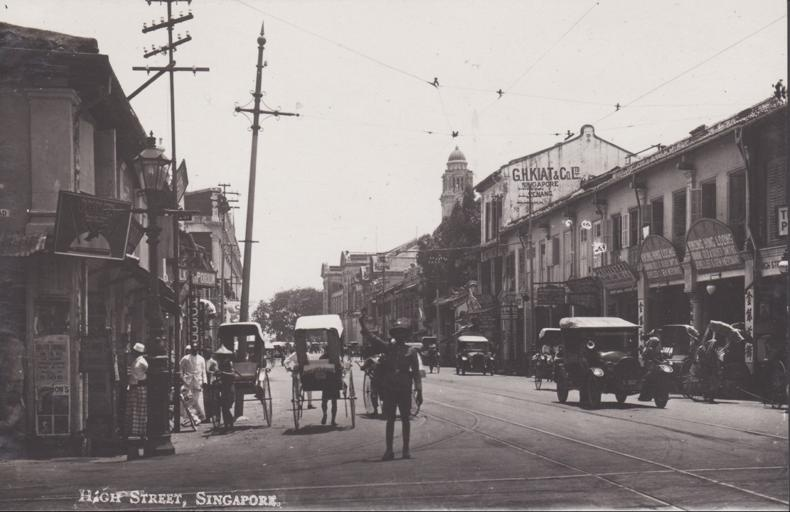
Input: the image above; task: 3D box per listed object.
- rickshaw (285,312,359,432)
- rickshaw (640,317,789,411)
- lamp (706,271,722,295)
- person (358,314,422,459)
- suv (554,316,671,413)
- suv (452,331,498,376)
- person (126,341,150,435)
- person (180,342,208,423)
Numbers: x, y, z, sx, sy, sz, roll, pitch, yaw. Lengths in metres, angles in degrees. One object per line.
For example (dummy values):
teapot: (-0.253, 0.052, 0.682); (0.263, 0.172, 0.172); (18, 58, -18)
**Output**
rickshaw: (-2.413, 3.145, 34.487); (1.802, 2.767, 3.529); (0, 2, 0)
rickshaw: (10.085, 3.370, 36.910); (2.244, 2.153, 4.108); (-7, -13, 44)
lamp: (11.954, 1.013, 43.441); (0.469, 0.681, 1.693); (-4, -11, 9)
person: (0.024, 3.236, 27.552); (1.182, 3.130, 0.981); (-2, -9, -2)
suv: (6.614, 3.225, 36.515); (2.427, 2.520, 4.426); (-3, 1, -9)
suv: (4.113, 5.052, 60.695); (1.654, 1.766, 3.428); (1, 4, -5)
person: (-6.558, 3.556, 29.493); (0.676, 2.968, 0.535); (0, 0, -1)
person: (-5.953, 3.653, 34.702); (0.824, 2.555, 0.898); (1, -2, 13)
